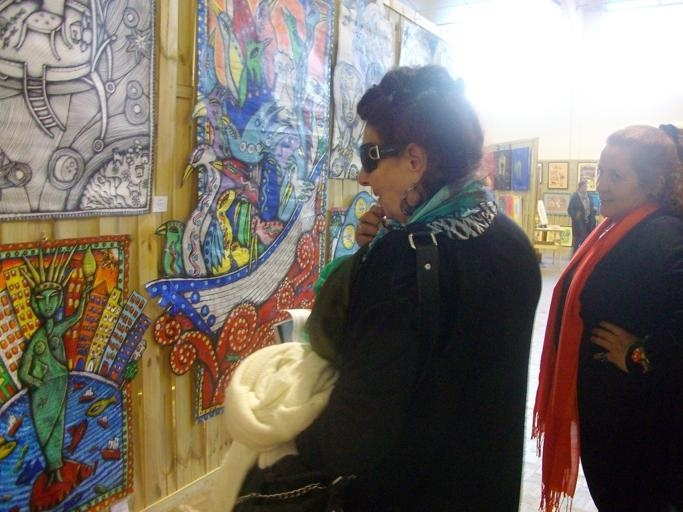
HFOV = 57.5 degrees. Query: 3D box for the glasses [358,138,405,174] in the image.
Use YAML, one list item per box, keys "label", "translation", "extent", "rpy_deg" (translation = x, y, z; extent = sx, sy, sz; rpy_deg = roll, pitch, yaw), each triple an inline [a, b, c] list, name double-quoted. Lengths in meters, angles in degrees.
- label: "glasses"
  translation: [0.147, -0.373, 2.320]
  extent: [0.121, 0.075, 0.104]
  rpy_deg: [-5, 12, -18]
